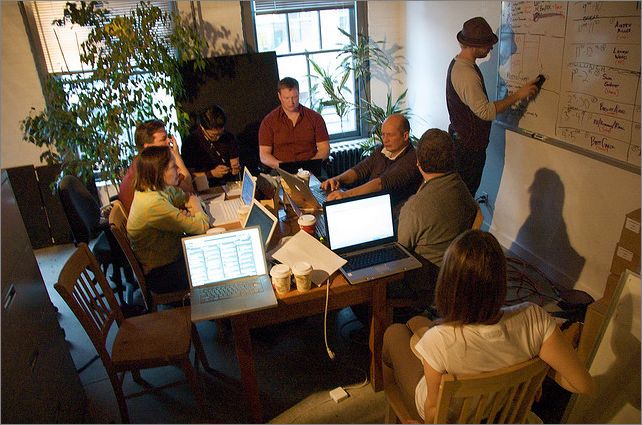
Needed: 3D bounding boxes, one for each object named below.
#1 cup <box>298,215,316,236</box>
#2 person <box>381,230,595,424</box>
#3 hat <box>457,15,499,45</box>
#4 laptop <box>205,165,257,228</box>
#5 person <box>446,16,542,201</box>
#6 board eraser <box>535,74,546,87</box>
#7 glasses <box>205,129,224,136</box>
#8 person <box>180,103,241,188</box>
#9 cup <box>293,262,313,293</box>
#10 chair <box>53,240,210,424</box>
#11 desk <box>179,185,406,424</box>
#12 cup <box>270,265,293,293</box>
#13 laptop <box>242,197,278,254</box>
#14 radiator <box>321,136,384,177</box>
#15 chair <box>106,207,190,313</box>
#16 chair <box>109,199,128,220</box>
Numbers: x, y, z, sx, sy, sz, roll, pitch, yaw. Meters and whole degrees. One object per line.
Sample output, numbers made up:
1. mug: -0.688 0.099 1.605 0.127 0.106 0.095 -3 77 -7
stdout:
1. cup: -0.128 0.124 3.697 0.150 0.157 0.149 -2 26 1
2. person: 1.104 0.800 3.027 0.645 1.326 1.016 -13 46 7
3. hat: 1.566 -1.711 4.438 0.320 0.130 0.300 17 65 23
4. laptop: -0.824 -0.111 4.105 0.392 0.498 0.630 0 22 -22
5. person: 1.803 -1.019 4.569 0.707 1.956 0.709 -10 44 10
6. board eraser: 2.144 -1.214 4.335 0.042 0.118 0.088 5 18 -35
7. glasses: -1.163 -0.818 4.848 0.179 0.084 0.104 -15 21 -19
8. person: -1.298 -0.692 5.085 0.561 0.995 0.592 -23 56 -25
9. cup: -0.131 0.451 3.270 0.172 0.190 0.181 -1 33 0
10. chair: -1.527 1.011 3.656 0.761 1.261 0.705 -10 35 -6
11. desk: -0.072 0.872 3.462 1.153 1.032 1.190 -11 22 -13
12. cup: -0.277 0.479 3.218 0.169 0.187 0.179 1 34 0
13. laptop: -0.488 0.139 3.536 0.105 0.312 0.304 -5 36 -33
14. radiator: 0.379 -0.781 6.526 0.641 0.183 0.733 -10 22 -14
15. chair: -1.511 0.409 3.935 0.527 0.893 0.483 -9 37 -10
16. chair: -1.773 0.032 3.881 0.171 0.170 0.261 -5 -1 -28
